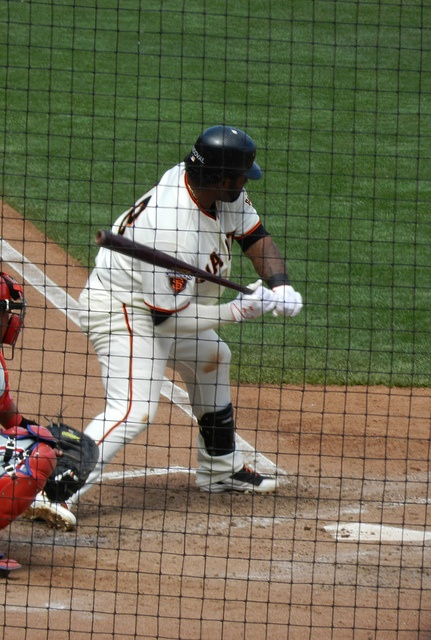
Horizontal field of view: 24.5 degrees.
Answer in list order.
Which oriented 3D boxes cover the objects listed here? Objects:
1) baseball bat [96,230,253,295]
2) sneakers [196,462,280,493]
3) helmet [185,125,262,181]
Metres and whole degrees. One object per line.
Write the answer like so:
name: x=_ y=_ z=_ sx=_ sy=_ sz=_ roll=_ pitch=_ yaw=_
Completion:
baseball bat: x=-0.246 y=-0.303 z=5.151 sx=0.955 sy=0.095 sz=0.093 roll=19 pitch=34 yaw=-22
sneakers: x=0.146 y=0.901 z=5.777 sx=0.518 sy=0.165 sz=0.174 roll=-2 pitch=92 yaw=-6
helmet: x=0.067 y=-0.889 z=5.234 sx=0.468 sy=0.204 sz=0.283 roll=1 pitch=38 yaw=-18
